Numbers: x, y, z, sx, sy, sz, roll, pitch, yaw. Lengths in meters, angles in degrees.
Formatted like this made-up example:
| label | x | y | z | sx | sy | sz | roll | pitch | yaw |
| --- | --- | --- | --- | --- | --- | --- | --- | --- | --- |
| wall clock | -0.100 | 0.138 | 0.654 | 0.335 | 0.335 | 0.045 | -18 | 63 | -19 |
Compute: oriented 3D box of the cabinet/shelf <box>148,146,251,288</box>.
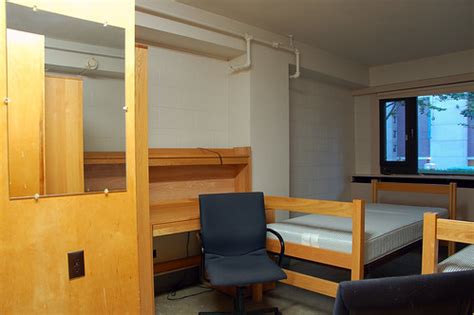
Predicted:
| label | x | y | z | sx | sy | sz | roll | pitch | yaw |
| --- | --- | --- | --- | --- | --- | --- | --- | --- | --- |
| cabinet/shelf | -0.361 | 0.504 | 3.257 | 1.338 | 1.162 | 0.429 | -3 | 6 | -42 |

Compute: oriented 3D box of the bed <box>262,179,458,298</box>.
| label | x | y | z | sx | sy | sz | roll | pitch | yaw |
| --- | --- | --- | --- | --- | --- | --- | --- | --- | --- |
| bed | 1.352 | 0.499 | 3.312 | 1.074 | 0.834 | 2.006 | 0 | 1 | 43 |
